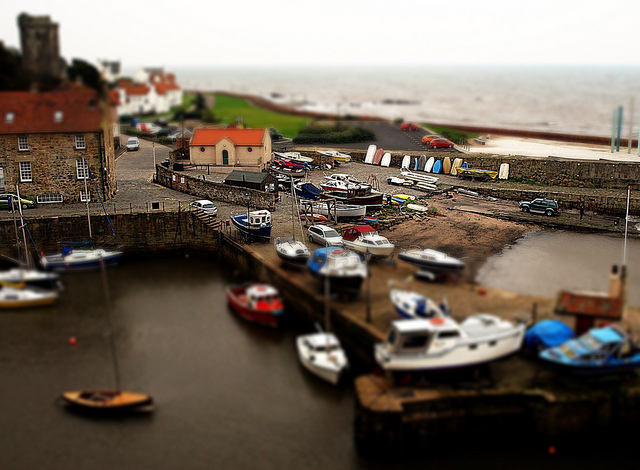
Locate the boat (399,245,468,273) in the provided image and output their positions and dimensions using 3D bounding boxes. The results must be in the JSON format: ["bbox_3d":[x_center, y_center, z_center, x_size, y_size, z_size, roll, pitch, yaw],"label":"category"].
[{"bbox_3d":[5.777,1.259,25.058,2.762,0.908,1.647,10,18,30],"label":"boat"}]

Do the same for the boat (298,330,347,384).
[{"bbox_3d":[0.175,4.973,19.708,1.772,1.035,3.366,-4,15,-20],"label":"boat"}]

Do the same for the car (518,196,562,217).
[{"bbox_3d":[16.939,-2.154,37.077,3.016,1.334,1.623,11,17,17],"label":"car"}]

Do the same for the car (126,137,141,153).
[{"bbox_3d":[-19.782,-9.585,51.363,1.302,0.952,2.406,-4,14,-12],"label":"car"}]

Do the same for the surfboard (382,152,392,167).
[{"bbox_3d":[6.748,-7.446,48.444,0.932,1.313,0.820,2,16,7],"label":"surfboard"}]

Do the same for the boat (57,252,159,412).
[{"bbox_3d":[-10.187,2.700,21.164,3.262,5.438,11.757,-9,17,-29],"label":"boat"}]

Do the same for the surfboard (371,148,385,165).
[{"bbox_3d":[5.943,-7.887,48.944,0.685,2.061,0.358,11,-26,33],"label":"surfboard"}]

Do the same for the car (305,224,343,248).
[{"bbox_3d":[0.246,0.051,27.529,1.000,0.752,2.102,-11,15,-39],"label":"car"}]

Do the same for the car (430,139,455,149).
[{"bbox_3d":[13.440,-9.969,53.183,2.431,0.738,1.023,-2,16,0],"label":"car"}]

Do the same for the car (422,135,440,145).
[{"bbox_3d":[13.078,-10.744,56.308,2.398,0.991,1.300,-11,21,-5],"label":"car"}]

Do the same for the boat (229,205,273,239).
[{"bbox_3d":[-4.353,-0.626,28.334,3.033,1.105,1.341,14,5,-1],"label":"boat"}]

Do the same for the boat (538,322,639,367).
[{"bbox_3d":[9.548,4.200,17.225,3.504,1.245,1.265,-8,33,-2],"label":"boat"}]

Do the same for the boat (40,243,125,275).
[{"bbox_3d":[-13.011,1.380,26.212,2.620,0.849,1.491,-5,17,-18],"label":"boat"}]

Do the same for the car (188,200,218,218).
[{"bbox_3d":[-7.664,-1.760,31.916,1.638,0.757,0.971,26,30,38],"label":"car"}]
